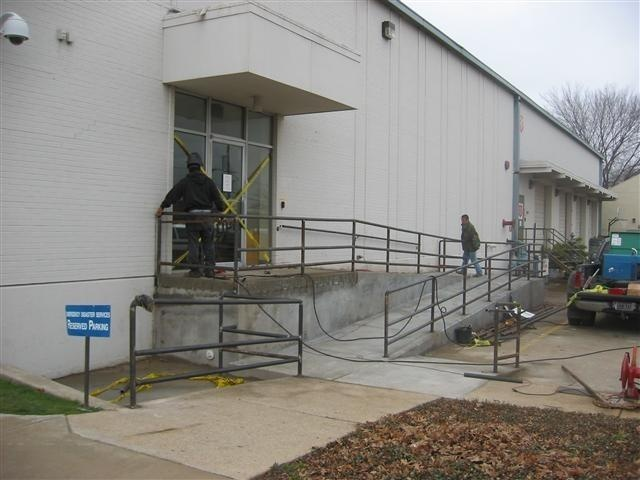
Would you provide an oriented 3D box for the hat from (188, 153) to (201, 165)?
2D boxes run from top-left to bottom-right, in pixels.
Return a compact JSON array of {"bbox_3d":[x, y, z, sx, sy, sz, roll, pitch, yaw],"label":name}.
[{"bbox_3d":[-2.367,-1.551,11.103,0.205,0.230,0.265,-1,-37,-9],"label":"hat"}]

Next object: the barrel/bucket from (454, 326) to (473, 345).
[{"bbox_3d":[3.078,2.022,12.529,0.352,0.308,0.351,-1,-3,0],"label":"barrel/bucket"}]

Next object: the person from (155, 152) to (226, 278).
[{"bbox_3d":[-2.271,-0.491,11.081,1.311,2.350,0.774,0,-1,22],"label":"person"}]
